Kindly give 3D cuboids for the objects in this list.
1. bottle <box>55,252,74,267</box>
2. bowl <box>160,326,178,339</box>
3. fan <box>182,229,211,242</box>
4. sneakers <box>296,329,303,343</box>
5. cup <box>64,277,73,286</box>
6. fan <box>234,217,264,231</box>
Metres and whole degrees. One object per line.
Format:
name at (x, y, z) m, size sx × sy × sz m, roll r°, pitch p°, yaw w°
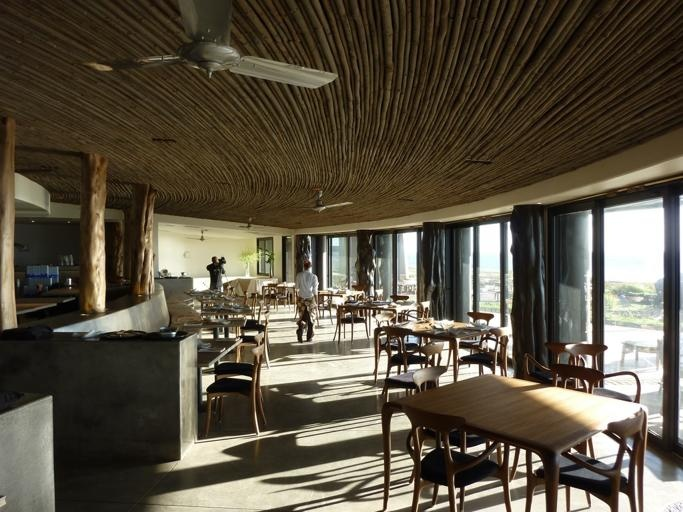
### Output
bottle at (-6.868, 0.081, 11.444) m, size 0.395 × 0.329 × 0.463 m, roll 0°, pitch -8°, yaw -5°
bowl at (-1.790, 0.808, 4.785) m, size 0.150 × 0.074 × 0.124 m, roll 0°, pitch 4°, yaw -11°
fan at (-6.441, -0.908, 20.504) m, size 0.877 × 0.278 × 0.850 m, roll 1°, pitch -2°, yaw -6°
sneakers at (-0.907, 1.701, 9.938) m, size 0.113 × 0.318 × 0.228 m, roll -1°, pitch 5°, yaw 0°
cup at (-6.057, 0.566, 10.261) m, size 0.172 × 0.145 × 0.169 m, roll 2°, pitch -6°, yaw 0°
fan at (-3.057, -1.038, 15.294) m, size 0.477 × 0.254 × 0.538 m, roll 5°, pitch 3°, yaw 26°
